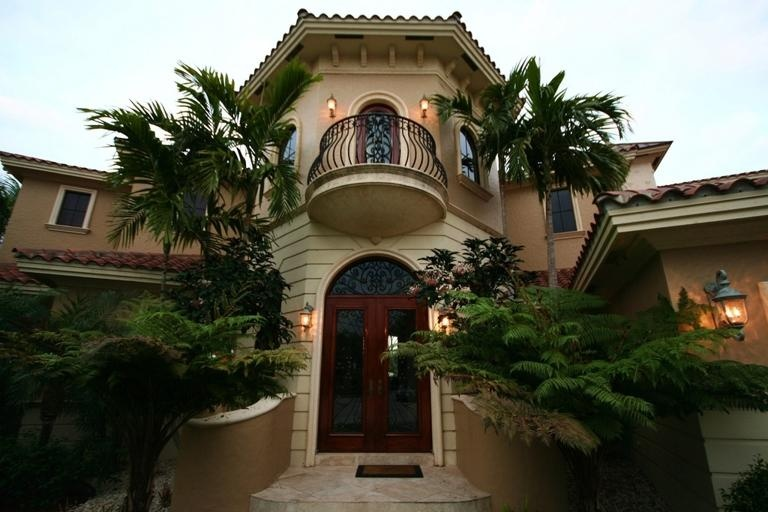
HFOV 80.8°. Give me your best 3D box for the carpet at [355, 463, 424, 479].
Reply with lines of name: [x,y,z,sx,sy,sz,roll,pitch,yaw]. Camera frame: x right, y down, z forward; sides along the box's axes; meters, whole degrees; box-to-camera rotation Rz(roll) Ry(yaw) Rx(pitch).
carpet: [0.097,4.442,8.887,1.294,0.110,0.655,-3,-1,1]

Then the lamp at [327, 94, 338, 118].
lamp: [-1.279,-3.720,11.128,0.264,0.613,0.355,-2,-1,-7]

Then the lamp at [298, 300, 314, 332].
lamp: [-1.698,1.484,9.884,0.318,0.631,0.297,-2,-1,-15]

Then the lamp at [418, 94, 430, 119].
lamp: [0.997,-3.707,11.124,0.265,0.400,0.356,-2,-1,6]
